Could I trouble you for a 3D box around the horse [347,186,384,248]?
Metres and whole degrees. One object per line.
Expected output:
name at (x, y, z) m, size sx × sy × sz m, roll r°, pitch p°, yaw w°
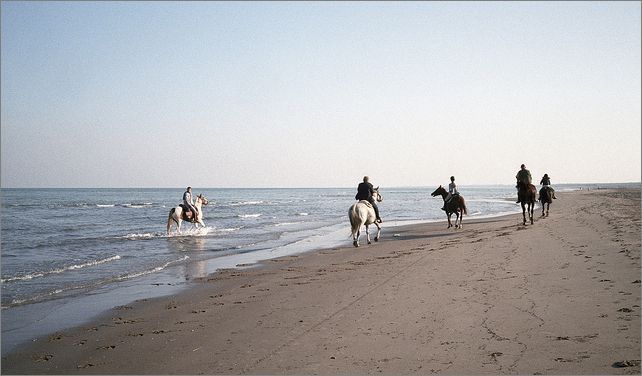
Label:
horse at (2.389, 1.664, 22.254) m, size 1.106 × 2.741 × 4.236 m, roll -8°, pitch -4°, yaw 28°
